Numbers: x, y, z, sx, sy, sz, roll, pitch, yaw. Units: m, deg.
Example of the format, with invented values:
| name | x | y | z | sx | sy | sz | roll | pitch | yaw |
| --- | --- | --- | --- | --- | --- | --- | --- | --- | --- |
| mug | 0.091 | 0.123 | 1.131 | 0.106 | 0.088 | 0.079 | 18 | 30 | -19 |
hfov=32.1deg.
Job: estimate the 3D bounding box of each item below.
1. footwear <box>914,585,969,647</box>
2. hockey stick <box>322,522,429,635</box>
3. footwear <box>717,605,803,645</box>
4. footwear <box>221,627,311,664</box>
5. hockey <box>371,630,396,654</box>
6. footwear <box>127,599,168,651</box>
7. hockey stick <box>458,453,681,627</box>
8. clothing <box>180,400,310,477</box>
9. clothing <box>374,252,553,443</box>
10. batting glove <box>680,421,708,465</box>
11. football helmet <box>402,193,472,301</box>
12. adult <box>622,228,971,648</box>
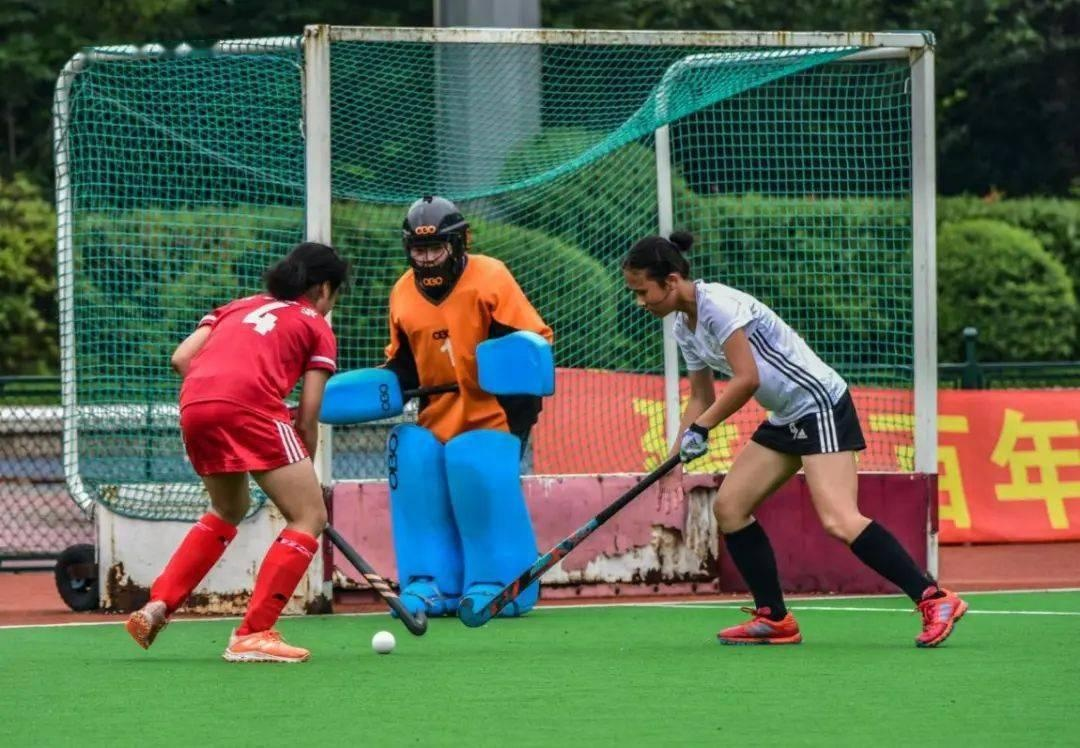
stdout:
| name | x | y | z | sx | sy | sz | roll | pitch | yaw |
| --- | --- | --- | --- | --- | --- | --- | --- | --- | --- |
| footwear | 2.404 | 1.469 | 11.236 | 0.223 | 0.319 | 0.120 | 35 | -6 | -21 |
| hockey stick | -1.083 | 1.344 | 12.188 | 0.135 | 0.815 | 0.128 | -36 | -9 | -24 |
| footwear | 1.352 | 1.526 | 11.451 | 0.473 | 0.241 | 0.214 | 3 | -2 | -2 |
| footwear | -1.614 | 1.602 | 11.018 | 0.488 | 0.212 | 0.199 | 2 | -6 | -2 |
| hockey | -0.943 | 1.607 | 11.268 | 0.142 | 0.122 | 0.216 | -4 | 6 | -6 |
| footwear | -2.380 | 1.514 | 11.095 | 0.202 | 0.154 | 0.383 | 4 | -24 | -18 |
| hockey stick | 0.264 | 1.010 | 11.952 | 2.146 | 0.243 | 0.310 | -33 | -4 | -35 |
| clothing | -1.802 | 0.321 | 11.027 | 0.749 | 0.458 | 0.462 | -2 | 14 | 21 |
| clothing | -0.521 | -0.133 | 12.184 | 1.204 | 1.344 | 0.699 | -1 | 6 | 14 |
| batting glove | 0.923 | 0.413 | 11.223 | 0.163 | 0.224 | 0.084 | 16 | 6 | 14 |
| football helmet | -0.664 | -0.856 | 12.159 | 0.406 | 0.616 | 0.532 | -5 | 9 | 14 |
| adult | 1.428 | 0.385 | 11.305 | 1.763 | 2.541 | 0.548 | -2 | 6 | 3 |
